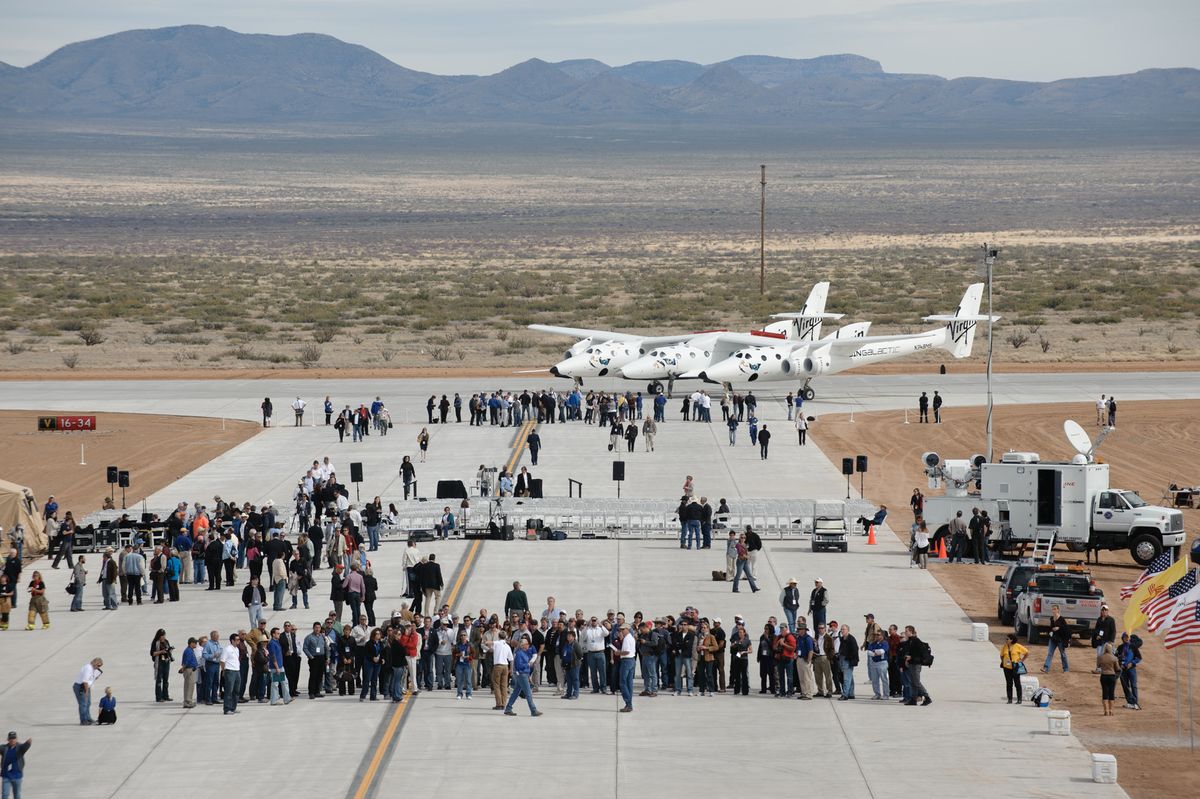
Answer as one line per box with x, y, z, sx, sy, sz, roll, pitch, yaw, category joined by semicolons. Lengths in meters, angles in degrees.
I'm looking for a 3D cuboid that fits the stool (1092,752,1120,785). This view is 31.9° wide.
15.822;11.670;66.062;0.925;0.751;0.849;-2;-2;-2;stool

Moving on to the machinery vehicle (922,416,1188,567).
17.265;4.222;80.923;9.387;4.209;2.913;2;11;15;machinery vehicle

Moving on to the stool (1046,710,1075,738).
14.849;10.532;67.988;0.779;0.673;0.773;-1;-2;2;stool

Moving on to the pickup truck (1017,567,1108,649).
16.171;7.084;74.266;2.560;1.802;4.685;1;6;0;pickup truck

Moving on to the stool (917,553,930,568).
12.089;6.084;79.859;0.527;0.672;0.753;1;10;5;stool

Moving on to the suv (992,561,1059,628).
14.987;6.805;75.446;1.646;1.323;2.633;-1;9;1;suv

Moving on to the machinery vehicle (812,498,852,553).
8.835;4.661;81.951;1.400;1.513;2.721;-1;26;6;machinery vehicle

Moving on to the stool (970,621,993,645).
13.272;8.229;73.675;0.712;0.602;0.651;-1;-1;-2;stool
